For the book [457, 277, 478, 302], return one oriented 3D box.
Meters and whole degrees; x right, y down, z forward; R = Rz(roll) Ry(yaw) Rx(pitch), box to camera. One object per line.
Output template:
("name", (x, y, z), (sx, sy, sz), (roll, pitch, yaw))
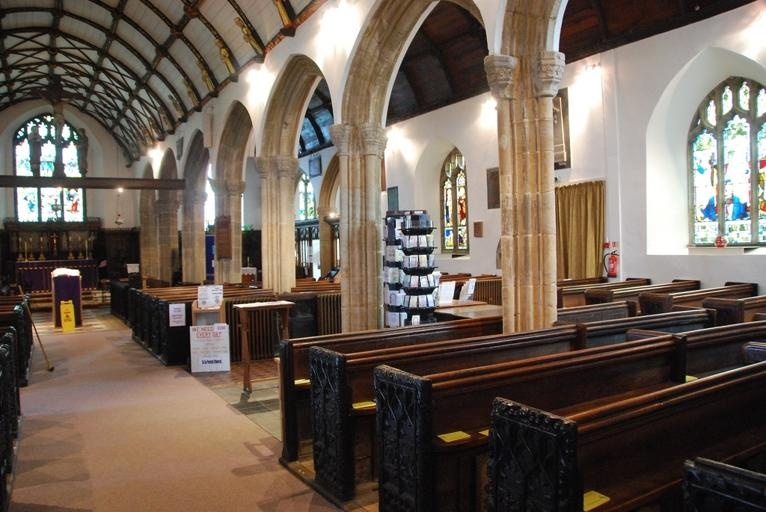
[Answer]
("book", (1.553, 0.618, 10.229), (0.182, 0.510, 0.497), (7, -4, 5))
